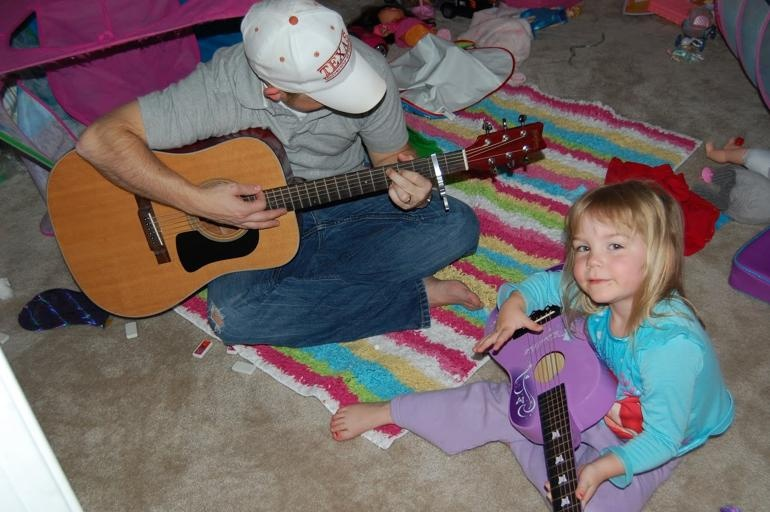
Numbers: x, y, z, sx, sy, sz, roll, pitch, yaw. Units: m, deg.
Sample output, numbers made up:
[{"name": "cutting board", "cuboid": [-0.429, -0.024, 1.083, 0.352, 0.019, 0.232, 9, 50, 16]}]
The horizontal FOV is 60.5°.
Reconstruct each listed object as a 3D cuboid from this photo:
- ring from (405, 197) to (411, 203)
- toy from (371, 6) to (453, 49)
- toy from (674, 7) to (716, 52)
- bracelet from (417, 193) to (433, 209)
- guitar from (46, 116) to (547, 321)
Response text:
[{"name": "ring", "cuboid": [0.083, -0.223, 2.604, 0.016, 0.027, 0.006, 2, 74, 12]}, {"name": "toy", "cuboid": [0.132, -1.341, 4.006, 0.366, 0.134, 0.369, 20, 52, 33]}, {"name": "toy", "cuboid": [1.752, -1.273, 3.711, 0.181, 0.193, 0.261, 23, 56, 18]}, {"name": "bracelet", "cuboid": [0.164, -0.221, 2.709, 0.067, 0.025, 0.047, -36, 25, 15]}, {"name": "guitar", "cuboid": [-0.442, -0.210, 2.768, 2.045, 0.270, 0.789, -13, 95, -3]}]
